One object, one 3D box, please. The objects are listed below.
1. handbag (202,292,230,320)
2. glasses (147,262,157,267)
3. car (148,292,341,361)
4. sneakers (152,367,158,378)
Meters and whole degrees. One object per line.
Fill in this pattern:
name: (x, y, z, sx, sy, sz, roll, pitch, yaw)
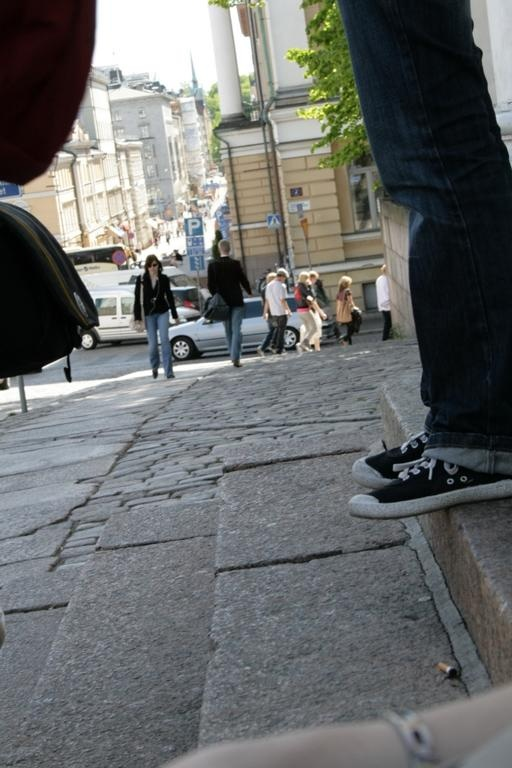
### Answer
handbag: (-0.889, -1.740, 12.396, 0.547, 0.625, 0.620, -6, -4, -6)
glasses: (-2.091, -2.393, 11.036, 0.182, 0.116, 0.069, -5, -4, -12)
car: (-0.298, -2.154, 21.697, 6.276, 2.212, 2.716, 0, 4, 4)
sneakers: (-2.315, -0.251, 12.540, 0.102, 0.271, 0.114, -4, -19, -13)
